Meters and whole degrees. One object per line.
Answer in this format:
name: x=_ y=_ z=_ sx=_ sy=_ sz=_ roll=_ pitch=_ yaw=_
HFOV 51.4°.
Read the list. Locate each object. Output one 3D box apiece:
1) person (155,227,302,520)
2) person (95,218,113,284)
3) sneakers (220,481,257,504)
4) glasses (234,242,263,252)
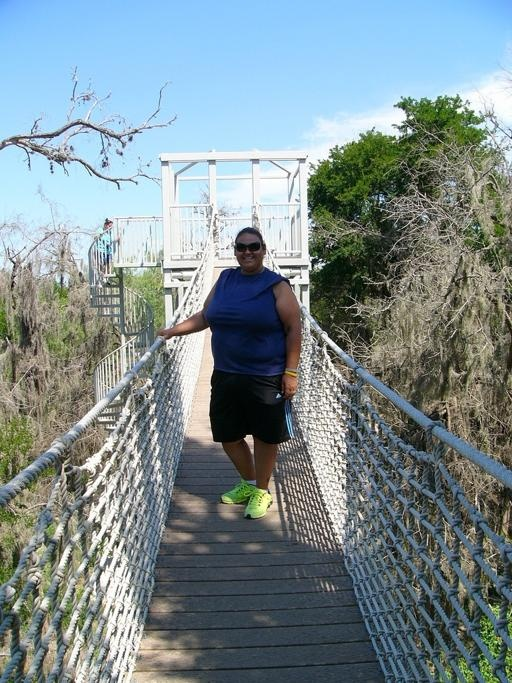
person: x=-0.088 y=0.215 z=3.142 sx=0.750 sy=1.757 sz=0.421 roll=6 pitch=9 yaw=39
person: x=-4.205 y=-2.598 z=14.934 sx=0.448 sy=1.681 sz=1.004 roll=-1 pitch=7 yaw=-12
sneakers: x=-0.100 y=0.963 z=3.463 sx=0.286 sy=0.135 sz=0.109 roll=-3 pitch=41 yaw=5
glasses: x=-0.039 y=-0.529 z=2.958 sx=0.129 sy=0.053 sz=0.039 roll=1 pitch=7 yaw=1
